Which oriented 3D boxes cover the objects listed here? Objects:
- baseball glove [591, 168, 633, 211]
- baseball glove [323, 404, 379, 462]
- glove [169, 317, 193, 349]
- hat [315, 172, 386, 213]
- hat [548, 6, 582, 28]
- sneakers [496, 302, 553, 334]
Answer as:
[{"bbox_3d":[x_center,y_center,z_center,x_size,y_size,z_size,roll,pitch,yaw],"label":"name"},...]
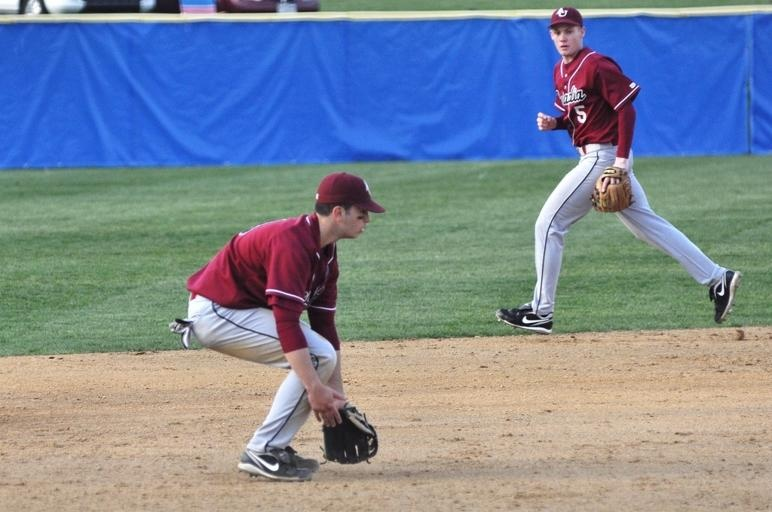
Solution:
[{"bbox_3d":[2.222,-0.678,15.340,0.564,0.419,0.363,-3,6,-20],"label":"baseball glove"},{"bbox_3d":[-0.313,1.585,13.551,0.528,0.494,0.260,1,16,0],"label":"baseball glove"},{"bbox_3d":[-1.789,0.683,13.694,0.301,0.247,0.153,4,8,40],"label":"glove"},{"bbox_3d":[-0.321,-0.556,13.429,0.569,0.240,0.338,4,6,-5],"label":"hat"},{"bbox_3d":[1.823,-2.404,15.446,0.321,0.205,0.252,-2,8,3],"label":"hat"},{"bbox_3d":[1.460,0.628,15.624,0.708,0.246,0.233,15,-5,11],"label":"sneakers"}]
